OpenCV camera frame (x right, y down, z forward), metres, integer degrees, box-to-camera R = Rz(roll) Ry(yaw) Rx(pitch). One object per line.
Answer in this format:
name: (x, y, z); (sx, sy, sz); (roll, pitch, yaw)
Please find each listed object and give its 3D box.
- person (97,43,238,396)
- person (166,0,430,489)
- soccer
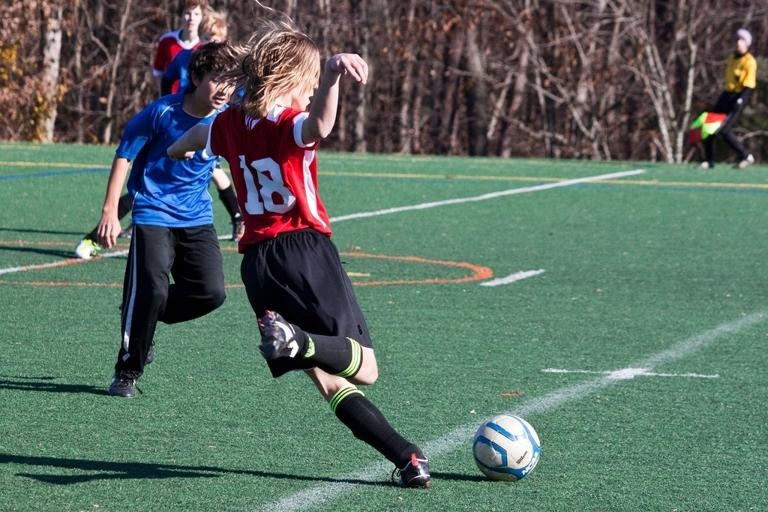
person: (-1.367, -0.239, 5.744); (1.103, 2.231, 0.775); (4, 5, -15)
person: (-0.375, -0.037, 4.426); (0.777, 2.255, 1.333); (-7, 16, -26)
soccer: (0.619, 1.003, 4.497); (0.335, 0.317, 0.334); (3, 17, 37)
